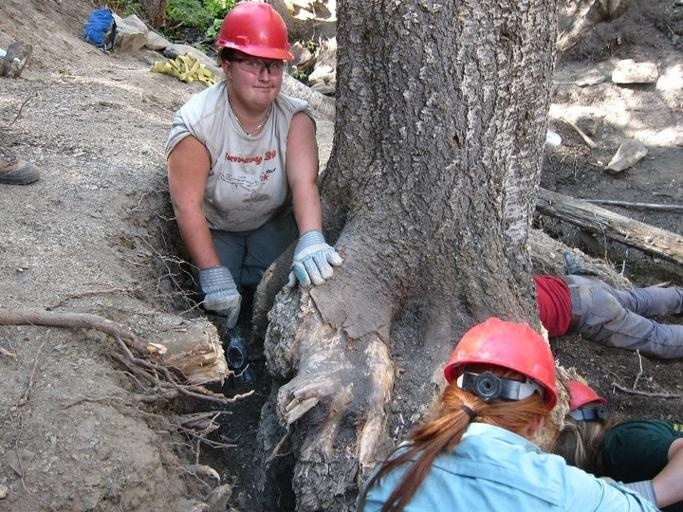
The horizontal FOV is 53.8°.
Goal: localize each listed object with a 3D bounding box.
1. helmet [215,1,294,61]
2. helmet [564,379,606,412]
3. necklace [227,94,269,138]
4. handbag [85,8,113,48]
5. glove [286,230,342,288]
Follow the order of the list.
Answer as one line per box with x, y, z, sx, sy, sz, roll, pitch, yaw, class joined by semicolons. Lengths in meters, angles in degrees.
-0.597;-1.554;4.656;0.453;0.289;0.377;30;27;30;helmet
1.623;0.966;4.564;0.213;0.130;0.187;-8;3;-11;helmet
-0.677;-1.008;4.777;0.211;0.315;0.300;-4;8;-19;necklace
-3.131;-2.991;8.726;0.367;0.329;0.591;7;32;-25;handbag
-0.202;0.034;4.526;0.290;0.326;0.536;10;31;-20;glove
